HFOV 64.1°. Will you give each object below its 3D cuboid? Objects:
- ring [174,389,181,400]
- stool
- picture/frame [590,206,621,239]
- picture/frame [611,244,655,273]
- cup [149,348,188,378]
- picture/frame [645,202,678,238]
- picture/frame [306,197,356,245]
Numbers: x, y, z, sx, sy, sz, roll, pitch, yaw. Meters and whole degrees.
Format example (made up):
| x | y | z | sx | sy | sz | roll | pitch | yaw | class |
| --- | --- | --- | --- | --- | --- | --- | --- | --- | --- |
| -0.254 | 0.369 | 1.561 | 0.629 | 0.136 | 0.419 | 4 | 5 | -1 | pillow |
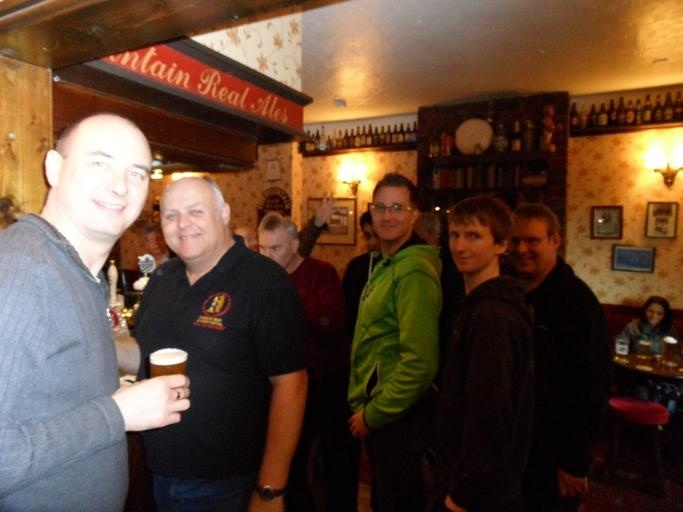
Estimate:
| x | y | z | sx | sy | sz | roll | pitch | yaw | class |
| --- | --- | --- | --- | --- | --- | --- | --- | --- | --- |
| -0.545 | 0.465 | 1.810 | 0.023 | 0.036 | 0.012 | 1 | 5 | -17 | ring |
| 2.163 | 1.292 | 3.971 | 0.366 | 0.443 | 0.435 | 2 | 6 | 26 | stool |
| 2.963 | -0.386 | 6.043 | 0.406 | 0.442 | 0.061 | 1 | -2 | 32 | picture/frame |
| 3.211 | 0.017 | 5.924 | 0.323 | 0.215 | 0.046 | 5 | 0 | 37 | picture/frame |
| -0.604 | 0.368 | 1.933 | 0.124 | 0.113 | 0.095 | 2 | 6 | 12 | cup |
| 3.429 | -0.390 | 5.794 | 0.279 | 0.390 | 0.068 | 4 | 7 | 35 | picture/frame |
| -0.144 | -0.483 | 7.304 | 0.769 | 0.611 | 0.059 | -3 | 4 | -31 | picture/frame |
